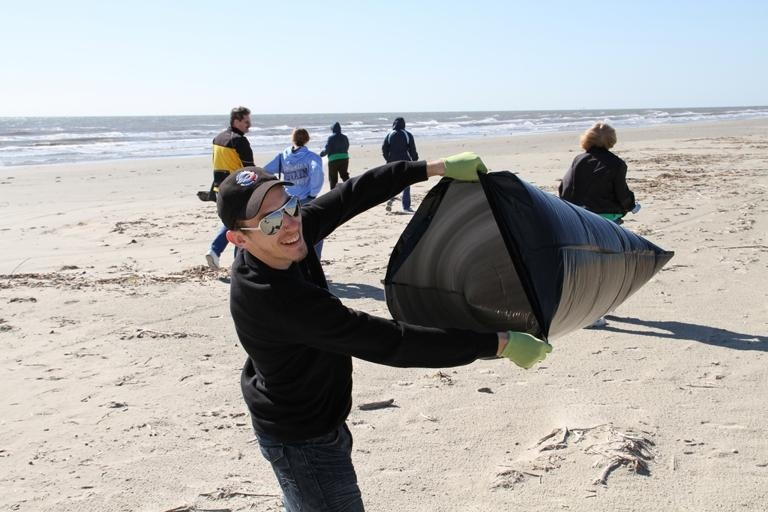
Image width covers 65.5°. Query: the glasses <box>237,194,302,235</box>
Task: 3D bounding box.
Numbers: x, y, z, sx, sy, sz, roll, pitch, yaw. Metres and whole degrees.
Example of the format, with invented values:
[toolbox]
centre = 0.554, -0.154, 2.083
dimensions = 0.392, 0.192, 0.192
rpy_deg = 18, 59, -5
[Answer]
[glasses]
centre = -0.522, -0.193, 2.883
dimensions = 0.277, 0.063, 0.257
rpy_deg = -5, 14, 45
